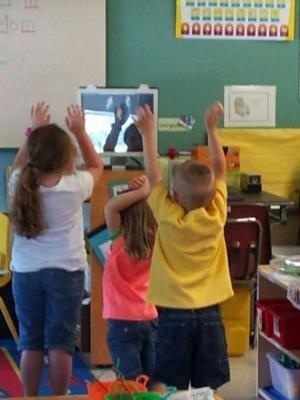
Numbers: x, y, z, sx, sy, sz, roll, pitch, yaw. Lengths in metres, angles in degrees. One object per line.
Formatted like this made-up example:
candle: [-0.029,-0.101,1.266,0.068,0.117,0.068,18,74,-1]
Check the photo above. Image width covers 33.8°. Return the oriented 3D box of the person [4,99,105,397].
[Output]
person: [-0.377,0.198,2.072,0.402,1.164,0.323,-5,12,-21]

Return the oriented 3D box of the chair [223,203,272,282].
chair: [0.551,0.217,3.076,0.388,0.387,0.382,-1,12,1]

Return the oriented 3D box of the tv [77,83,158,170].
tv: [-0.186,-0.418,2.729,0.514,0.640,0.189,-1,-7,-2]

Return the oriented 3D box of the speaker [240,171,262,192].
speaker: [0.709,-0.117,3.461,0.102,0.159,0.202,0,1,-7]

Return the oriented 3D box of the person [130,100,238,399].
person: [0.125,0.178,1.745,0.334,0.999,0.434,-1,11,-2]
